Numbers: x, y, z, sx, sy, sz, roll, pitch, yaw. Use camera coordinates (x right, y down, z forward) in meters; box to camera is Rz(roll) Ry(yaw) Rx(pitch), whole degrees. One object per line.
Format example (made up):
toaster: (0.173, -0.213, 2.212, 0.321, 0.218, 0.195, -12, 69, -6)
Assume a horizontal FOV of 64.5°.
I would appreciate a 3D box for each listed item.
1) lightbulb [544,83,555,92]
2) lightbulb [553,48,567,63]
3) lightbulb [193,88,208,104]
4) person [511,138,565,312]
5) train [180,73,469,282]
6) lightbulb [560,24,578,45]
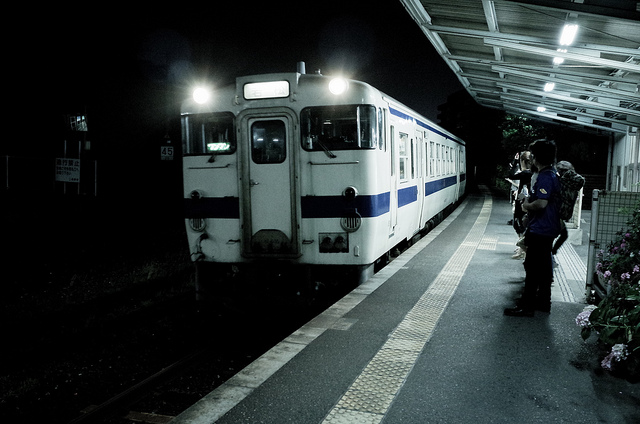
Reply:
lightbulb: (6.548, -3.542, 14.453, 0.173, 0.072, 0.253, 8, -20, 19)
lightbulb: (5.707, -3.688, 12.126, 0.162, 0.086, 0.395, 4, 0, 0)
lightbulb: (-2.141, -2.111, 9.318, 0.217, 0.285, 0.234, -2, 16, 38)
person: (3.505, 0.260, 8.072, 0.712, 2.737, 0.789, -1, 14, 27)
train: (0.495, -0.782, 10.314, 6.064, 4.197, 2.716, -20, 17, -41)
lightbulb: (5.112, -3.615, 10.431, 0.305, 0.368, 0.674, -2, 14, 25)
